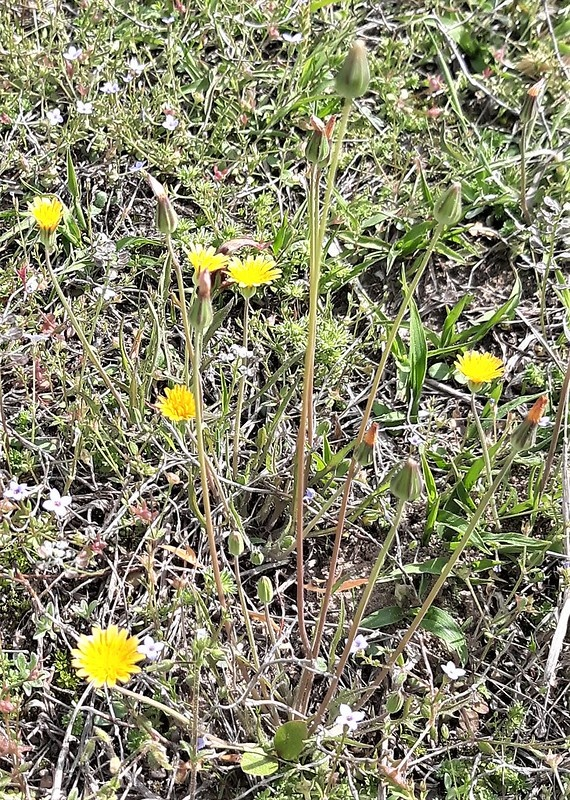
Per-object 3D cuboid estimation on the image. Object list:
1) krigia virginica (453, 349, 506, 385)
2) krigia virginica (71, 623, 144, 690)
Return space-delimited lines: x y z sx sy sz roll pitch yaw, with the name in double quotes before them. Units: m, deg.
"krigia virginica" 0.455 -0.076 1.735 0.079 0.038 0.081 -12 42 -8
"krigia virginica" -0.276 0.394 1.125 0.101 0.038 0.101 1 34 0
